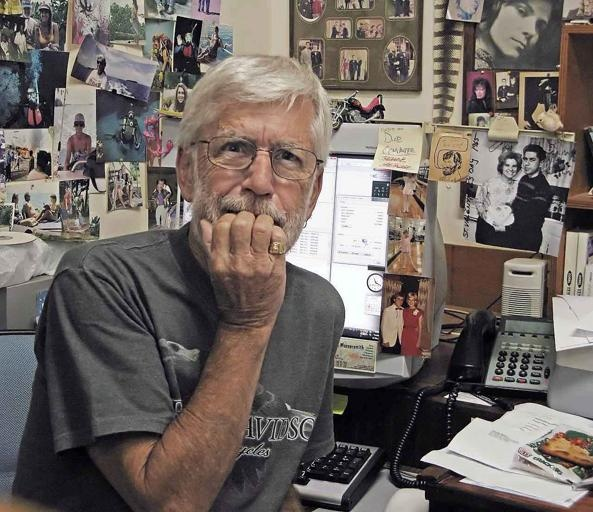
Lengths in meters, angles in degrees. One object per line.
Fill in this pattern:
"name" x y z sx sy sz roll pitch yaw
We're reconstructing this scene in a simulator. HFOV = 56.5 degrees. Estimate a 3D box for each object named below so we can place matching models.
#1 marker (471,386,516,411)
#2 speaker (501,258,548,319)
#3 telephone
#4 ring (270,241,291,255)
"marker" 0.387 0.276 1.094 0.023 0.027 0.119 -24 7 -12
"speaker" 0.501 0.065 1.216 0.095 0.213 0.115 2 4 27
"telephone" 0.431 0.201 1.162 0.201 0.139 0.154 6 6 25
"ring" -0.025 -0.009 0.719 0.014 0.014 0.020 2 19 -7
